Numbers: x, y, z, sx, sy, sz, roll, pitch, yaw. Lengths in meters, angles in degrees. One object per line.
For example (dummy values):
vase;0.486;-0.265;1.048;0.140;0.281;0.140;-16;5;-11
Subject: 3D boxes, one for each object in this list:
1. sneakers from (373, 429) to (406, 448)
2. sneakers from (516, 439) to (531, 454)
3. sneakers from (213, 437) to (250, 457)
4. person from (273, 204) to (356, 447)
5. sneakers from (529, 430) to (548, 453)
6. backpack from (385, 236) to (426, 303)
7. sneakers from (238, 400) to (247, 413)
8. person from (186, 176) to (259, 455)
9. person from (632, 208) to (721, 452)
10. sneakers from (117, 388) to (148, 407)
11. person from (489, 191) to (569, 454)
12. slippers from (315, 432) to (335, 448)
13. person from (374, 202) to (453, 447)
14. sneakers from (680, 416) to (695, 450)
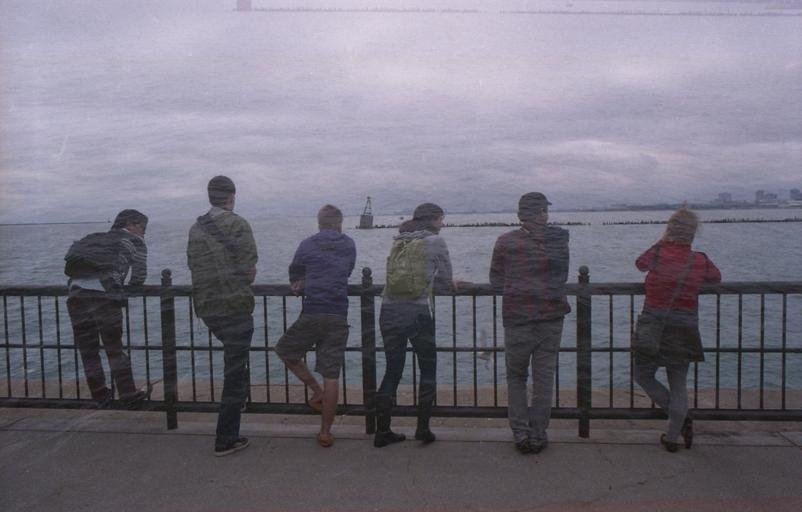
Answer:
sneakers;-0.153;1.863;11.473;0.402;0.190;0.135;-6;8;-34
sneakers;1.220;1.912;11.311;0.142;0.143;0.057;-2;7;4
sneakers;-1.718;1.939;11.381;0.404;0.124;0.137;-8;13;-32
person;-0.853;0.720;11.479;0.862;2.431;0.432;-3;7;-2
sneakers;1.378;1.879;11.360;0.092;0.204;0.223;4;8;44
backpack;0.044;0.138;11.420;0.452;0.619;0.115;-2;7;4
sneakers;-1.647;1.572;11.643;0.063;0.055;0.146;3;23;-1
person;-1.765;0.759;11.442;0.577;2.458;0.408;-7;8;-28
person;2.745;0.741;11.316;0.867;2.428;0.389;-2;7;7
sneakers;-2.765;1.484;11.731;0.209;0.171;0.232;-4;24;45
person;1.363;0.670;11.409;0.801;2.586;0.493;-4;7;-10
slippers;-0.784;1.869;11.472;0.177;0.148;0.127;-2;6;-3
person;0.105;0.711;11.469;0.876;2.445;0.394;-3;7;2
sneakers;2.881;1.794;11.419;0.186;0.294;0.121;-3;8;5
